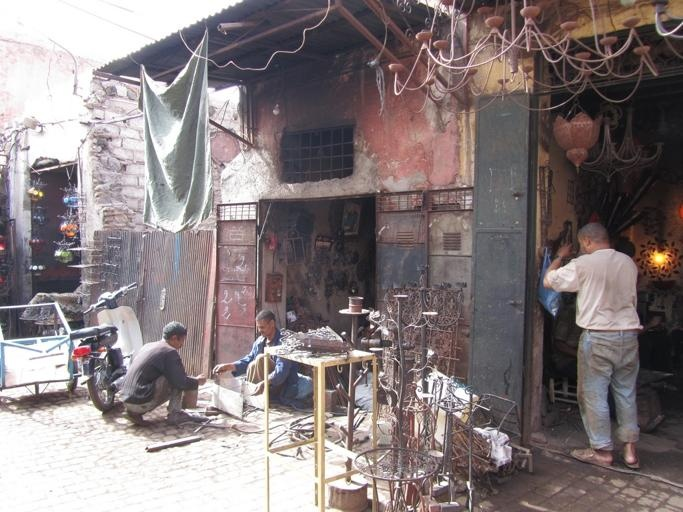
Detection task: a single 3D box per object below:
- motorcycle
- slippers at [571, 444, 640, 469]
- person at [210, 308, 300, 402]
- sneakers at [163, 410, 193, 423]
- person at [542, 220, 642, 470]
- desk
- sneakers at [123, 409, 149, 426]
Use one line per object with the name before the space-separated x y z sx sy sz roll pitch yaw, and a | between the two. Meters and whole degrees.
motorcycle | -3.541 1.322 9.228 0.792 1.482 2.482 -15 7 -4
slippers | 2.991 2.183 6.779 0.716 0.271 0.264 4 12 21
person | -1.093 1.494 8.106 1.101 1.534 0.907 5 -12 -34
sneakers | -2.160 2.097 7.893 0.282 0.197 0.154 -3 1 -13
person | 3.060 0.993 7.107 1.028 2.809 0.859 -3 5 6
desk | -0.224 1.714 6.019 1.162 1.657 1.263 -3 11 -8
sneakers | -2.697 2.104 7.843 0.211 0.087 0.217 27 -10 -12
